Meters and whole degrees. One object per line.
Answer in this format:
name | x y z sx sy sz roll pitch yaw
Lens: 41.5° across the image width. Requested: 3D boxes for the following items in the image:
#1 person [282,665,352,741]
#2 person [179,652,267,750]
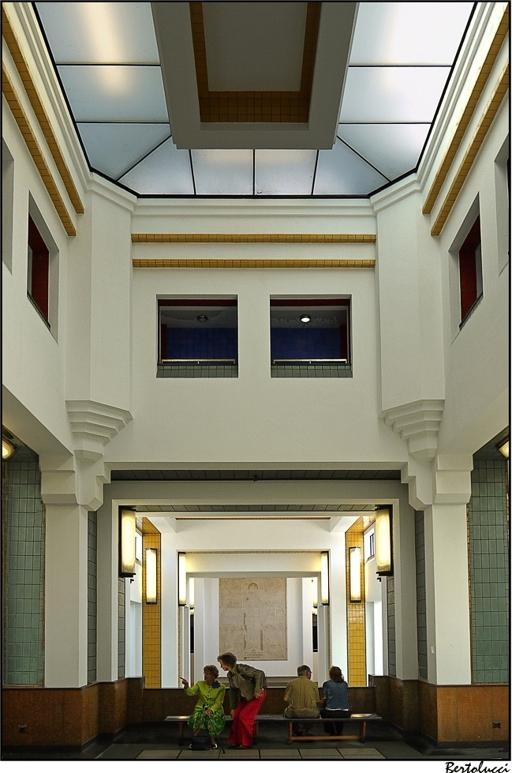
person | 0.964 4.841 10.431 0.857 1.466 1.082 1 -16 2
person | -0.527 4.415 9.553 1.154 1.204 1.225 13 -22 -36
